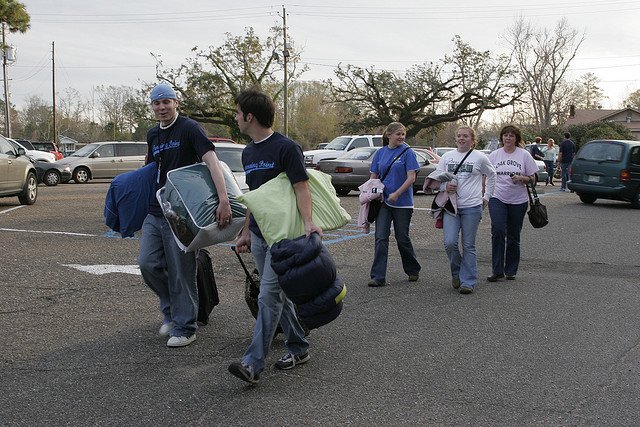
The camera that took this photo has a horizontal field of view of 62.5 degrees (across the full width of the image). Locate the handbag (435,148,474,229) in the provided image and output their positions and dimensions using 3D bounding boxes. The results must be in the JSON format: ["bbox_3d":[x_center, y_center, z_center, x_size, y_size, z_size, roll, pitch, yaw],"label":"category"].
[{"bbox_3d":[1.858,-0.313,7.244,0.195,1.186,0.145,36,-10,-40],"label":"handbag"}]

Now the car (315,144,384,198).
[{"bbox_3d":[1.278,-1.553,17.806,2.917,0.916,1.314,-8,8,-43],"label":"car"}]

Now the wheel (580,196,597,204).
[{"bbox_3d":[8.574,-0.431,16.873,0.466,0.215,0.538,2,10,17],"label":"wheel"}]

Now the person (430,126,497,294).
[{"bbox_3d":[1.951,-0.081,7.225,0.706,2.184,0.811,4,11,28],"label":"person"}]

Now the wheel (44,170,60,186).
[{"bbox_3d":[-11.322,-1.518,22.375,0.619,0.661,0.238,-9,12,-40],"label":"wheel"}]

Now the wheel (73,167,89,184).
[{"bbox_3d":[-10.778,-1.752,23.827,0.207,0.579,0.561,-1,42,39],"label":"wheel"}]

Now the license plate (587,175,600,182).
[{"bbox_3d":[8.369,-1.073,16.162,0.240,0.210,0.059,-1,-10,30],"label":"license plate"}]

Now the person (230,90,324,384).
[{"bbox_3d":[-0.398,0.182,4.638,0.799,2.503,0.855,-2,10,-8],"label":"person"}]

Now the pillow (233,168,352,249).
[{"bbox_3d":[-0.241,-0.041,4.636,0.815,0.714,0.263,-23,-5,-20],"label":"pillow"}]

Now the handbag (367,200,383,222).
[{"bbox_3d":[0.767,-0.029,7.374,0.078,0.296,0.182,20,-2,-39],"label":"handbag"}]

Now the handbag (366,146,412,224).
[{"bbox_3d":[0.915,-0.376,7.367,0.595,1.014,0.240,-8,12,-36],"label":"handbag"}]

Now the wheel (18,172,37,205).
[{"bbox_3d":[-8.057,-0.684,14.542,0.325,0.899,0.919,-4,-3,7],"label":"wheel"}]
